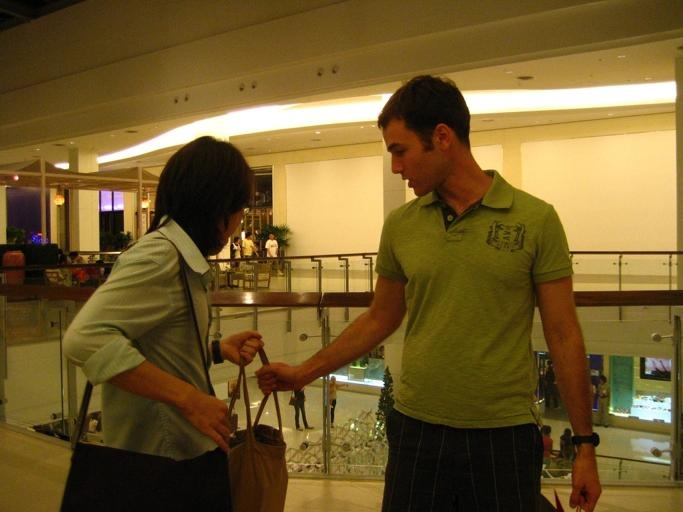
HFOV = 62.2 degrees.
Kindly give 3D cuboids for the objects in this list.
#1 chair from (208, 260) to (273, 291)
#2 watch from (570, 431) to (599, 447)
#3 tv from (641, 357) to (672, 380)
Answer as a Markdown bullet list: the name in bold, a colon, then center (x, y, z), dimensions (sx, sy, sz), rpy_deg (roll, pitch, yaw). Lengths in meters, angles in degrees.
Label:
- **chair**: center (-1.662, 0.333, 9.673), dimensions (0.640, 0.434, 0.657), rpy_deg (0, -1, 18)
- **watch**: center (0.741, 0.549, 1.702), dimensions (0.057, 0.030, 0.058), rpy_deg (-7, -12, 25)
- **tv**: center (1.730, 0.627, 3.112), dimensions (0.152, 0.125, 0.060), rpy_deg (-1, -2, 28)
